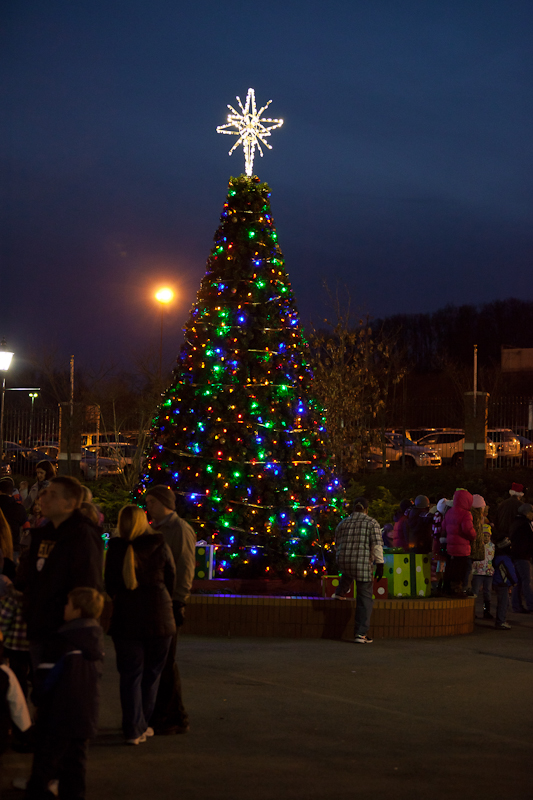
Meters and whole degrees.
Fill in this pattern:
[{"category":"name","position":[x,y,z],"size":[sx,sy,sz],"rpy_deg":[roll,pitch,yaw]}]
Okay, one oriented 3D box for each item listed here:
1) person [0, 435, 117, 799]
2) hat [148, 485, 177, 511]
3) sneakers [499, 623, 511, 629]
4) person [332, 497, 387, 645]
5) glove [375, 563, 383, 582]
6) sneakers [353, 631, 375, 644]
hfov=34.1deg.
[{"category":"person","position":[-1.051,0.932,4.604],"size":[0.355,1.048,0.660],"rpy_deg":[9,-9,-34]},{"category":"hat","position":[-0.712,0.665,5.899],"size":[0.190,0.164,0.147],"rpy_deg":[21,13,30]},{"category":"sneakers","position":[3.145,3.012,11.503],"size":[0.184,0.081,0.061],"rpy_deg":[-1,0,-31]},{"category":"person","position":[1.092,1.979,10.113],"size":[0.464,1.612,0.645],"rpy_deg":[8,-9,-33]},{"category":"glove","position":[1.288,1.992,10.031],"size":[0.079,0.179,0.198],"rpy_deg":[4,-8,-2]},{"category":"sneakers","position":[1.124,2.721,9.866],"size":[0.288,0.129,0.103],"rpy_deg":[0,0,-44]}]
